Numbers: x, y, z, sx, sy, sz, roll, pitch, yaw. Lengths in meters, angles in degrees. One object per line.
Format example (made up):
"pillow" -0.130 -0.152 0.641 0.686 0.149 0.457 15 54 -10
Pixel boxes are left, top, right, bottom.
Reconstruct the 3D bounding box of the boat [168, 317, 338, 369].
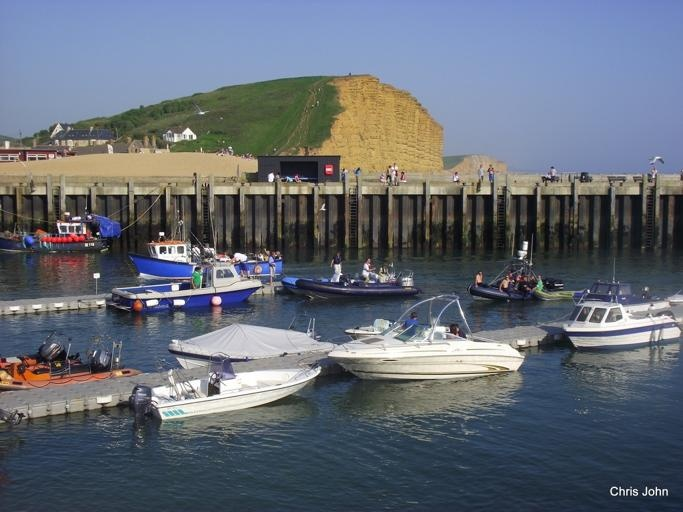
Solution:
"boat" -3.080 3.416 44.152 5.811 1.622 5.545 -9 7 -42

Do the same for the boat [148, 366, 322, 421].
"boat" -3.596 5.132 41.289 6.540 1.381 1.865 -5 18 -15

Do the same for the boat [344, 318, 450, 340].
"boat" 2.351 3.013 45.310 4.254 0.998 1.239 0 0 -11

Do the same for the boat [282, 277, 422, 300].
"boat" 0.362 1.641 55.605 6.189 0.958 4.205 2 5 36

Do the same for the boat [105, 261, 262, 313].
"boat" -6.980 1.721 53.521 5.228 2.179 6.142 4 7 31

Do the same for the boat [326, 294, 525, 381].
"boat" 2.789 3.200 44.199 8.066 2.689 3.085 0 1 -14
